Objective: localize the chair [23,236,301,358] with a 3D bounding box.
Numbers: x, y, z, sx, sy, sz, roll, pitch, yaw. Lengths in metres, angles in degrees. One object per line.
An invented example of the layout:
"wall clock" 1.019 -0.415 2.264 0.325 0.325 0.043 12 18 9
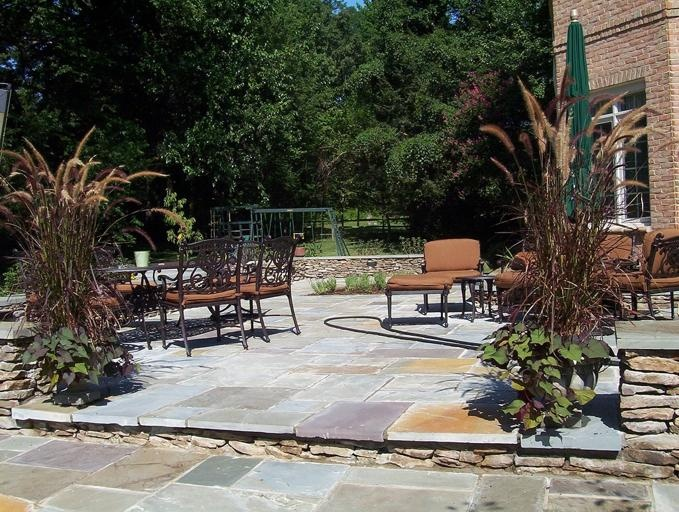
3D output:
"chair" -1.729 0.470 5.353 0.784 0.938 1.651 7 7 43

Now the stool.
"stool" 1.034 0.467 6.714 0.990 0.521 0.705 0 6 9

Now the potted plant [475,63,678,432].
"potted plant" 1.291 -0.015 3.046 0.974 2.100 1.324 -4 10 13
